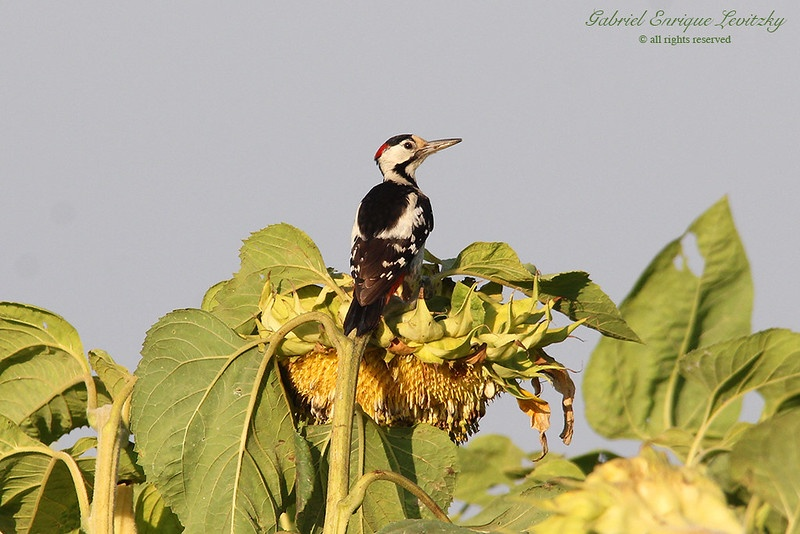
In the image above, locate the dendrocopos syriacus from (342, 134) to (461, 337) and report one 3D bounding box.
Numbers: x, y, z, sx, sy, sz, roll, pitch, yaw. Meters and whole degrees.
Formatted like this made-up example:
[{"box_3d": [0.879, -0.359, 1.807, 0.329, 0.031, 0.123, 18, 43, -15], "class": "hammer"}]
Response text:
[{"box_3d": [-0.061, -0.229, 8.423, 0.356, 0.982, 0.968, 3, 10, 28], "class": "dendrocopos syriacus"}]
